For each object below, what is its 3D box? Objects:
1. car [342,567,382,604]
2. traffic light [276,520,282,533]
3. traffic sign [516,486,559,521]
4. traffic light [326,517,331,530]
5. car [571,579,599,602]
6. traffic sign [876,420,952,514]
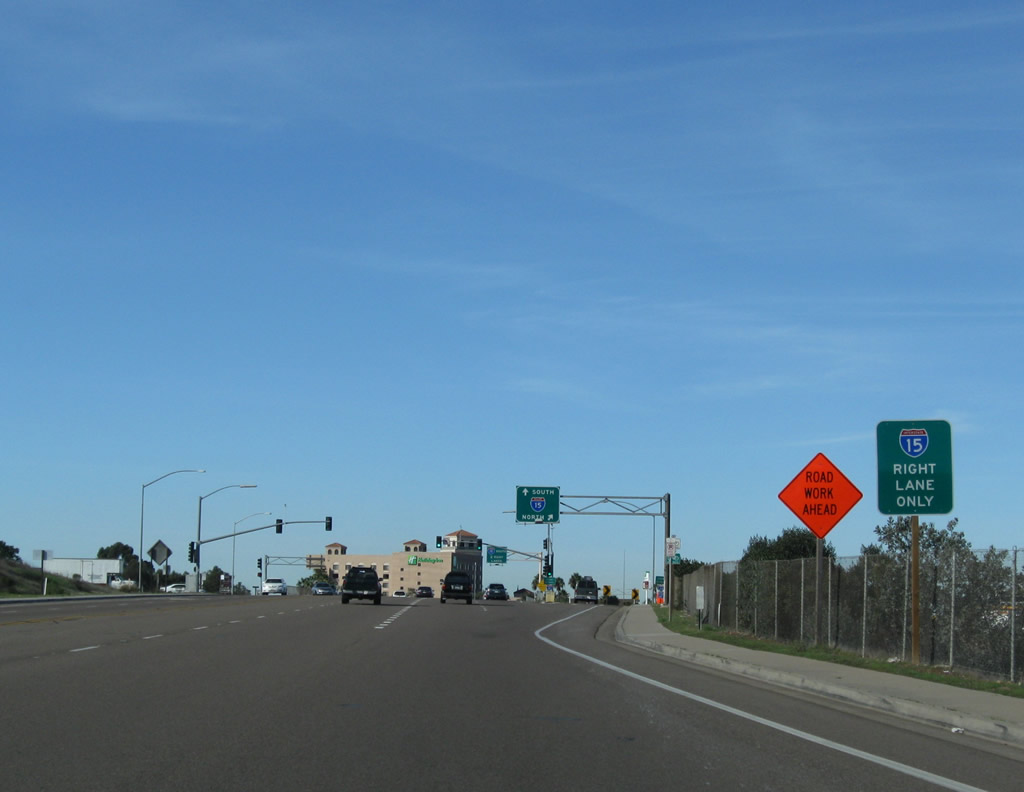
[{"bbox_3d":[-7.004,8.859,60.168,1.173,1.029,2.629,1,-11,-3],"label":"car"},{"bbox_3d":[-18.442,10.327,102.362,0.218,0.790,0.572,1,-8,4],"label":"traffic light"},{"bbox_3d":[1.504,6.257,74.543,2.334,2.031,2.793,2,-9,-3],"label":"traffic sign"},{"bbox_3d":[-13.204,9.185,92.649,0.212,0.758,0.688,5,-9,-23],"label":"traffic light"},{"bbox_3d":[6.609,17.328,115.070,1.612,2.132,2.977,-5,-11,39],"label":"car"},{"bbox_3d":[8.944,1.685,28.492,1.930,2.581,0.204,-1,-9,6],"label":"traffic sign"}]
